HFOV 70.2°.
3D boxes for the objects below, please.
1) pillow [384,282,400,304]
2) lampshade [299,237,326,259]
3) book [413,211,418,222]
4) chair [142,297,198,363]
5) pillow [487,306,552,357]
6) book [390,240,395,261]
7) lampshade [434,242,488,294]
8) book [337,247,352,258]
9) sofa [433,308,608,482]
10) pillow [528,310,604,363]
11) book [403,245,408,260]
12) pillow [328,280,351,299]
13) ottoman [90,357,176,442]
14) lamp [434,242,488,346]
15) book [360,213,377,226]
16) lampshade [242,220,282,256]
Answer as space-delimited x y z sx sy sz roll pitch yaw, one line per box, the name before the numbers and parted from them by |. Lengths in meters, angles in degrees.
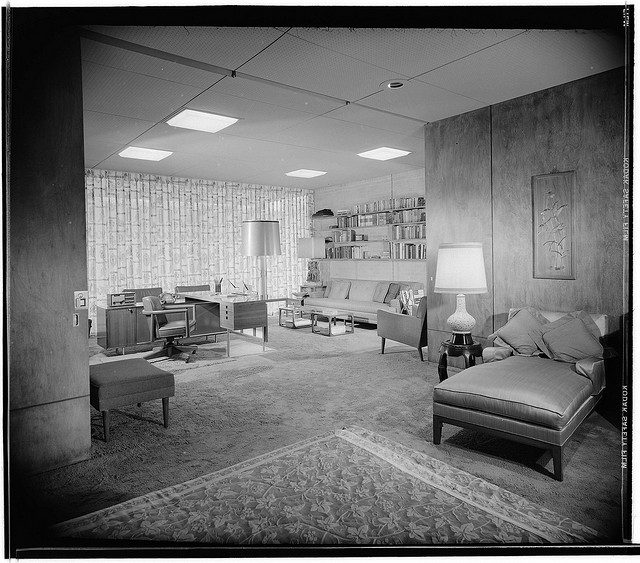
pillow | 1.347 0.201 8.265 0.229 0.367 0.334 -3 5 -37
lampshade | -0.134 -0.709 9.375 0.429 0.429 0.429 -4 2 -13
book | 1.696 -1.183 8.071 0.030 0.134 0.123 3 4 -12
chair | -1.970 0.581 5.958 0.668 0.853 0.688 -2 4 -23
pillow | 1.766 0.450 3.973 0.097 0.400 0.381 42 7 -47
book | 1.358 -0.604 8.467 0.022 0.314 0.131 -2 5 -32
lampshade | 1.299 -0.114 4.338 0.461 0.502 0.471 -1 0 5
book | 0.546 -0.625 9.633 0.273 0.275 0.201 -2 -5 34
sofa | 1.612 0.761 3.496 0.907 0.868 1.425 1 3 41
pillow | 2.014 0.459 3.699 0.518 0.098 0.491 -14 30 8
book | 1.555 -0.546 8.225 0.019 0.248 0.113 -3 5 -37
pillow | 0.424 0.151 9.284 0.097 0.366 0.387 24 -12 -40
ottoman | -1.525 0.786 3.587 0.664 0.543 0.836 -3 3 -43
lamp | 1.274 0.117 4.232 0.500 0.944 0.495 -1 0 13
book | 0.985 -1.243 9.046 0.154 0.282 0.286 1 -3 -42
lampshade | -0.823 -0.624 6.391 0.492 0.384 0.505 2 3 19
